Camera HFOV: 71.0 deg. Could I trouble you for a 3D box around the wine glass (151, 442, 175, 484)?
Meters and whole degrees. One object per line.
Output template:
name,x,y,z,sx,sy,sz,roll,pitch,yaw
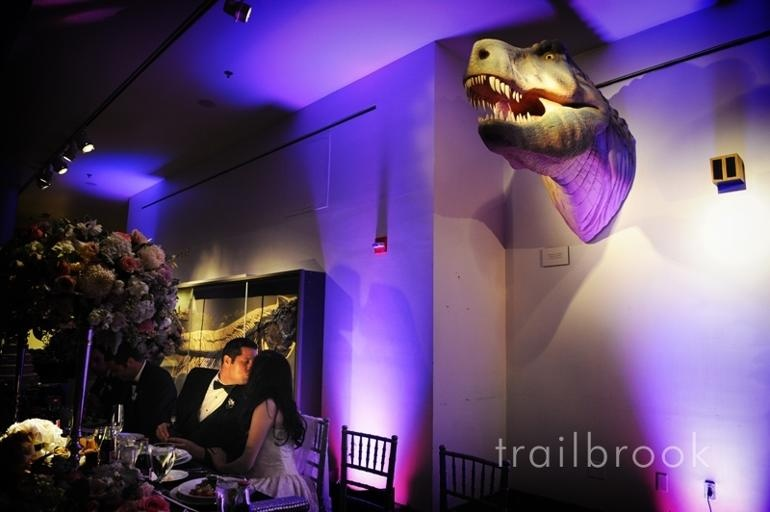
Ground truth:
wine glass,-1.276,1.174,3.074,0.104,0.194,0.121,-10,-19,43

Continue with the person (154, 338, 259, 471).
person,-1.299,1.096,4.191,0.644,0.883,0.585,14,-16,24
